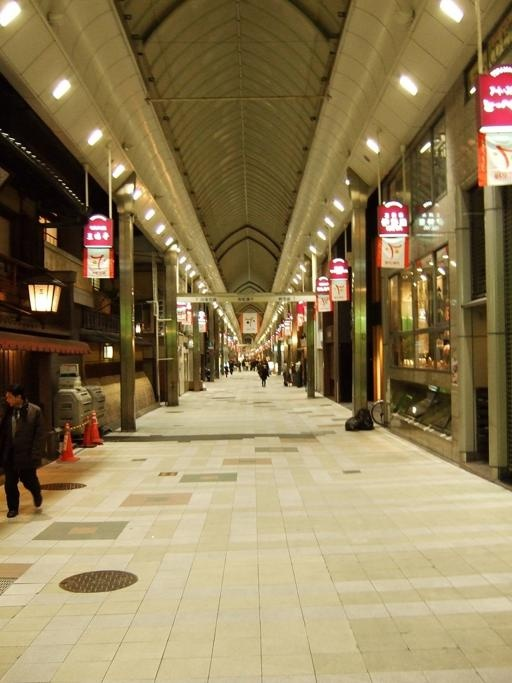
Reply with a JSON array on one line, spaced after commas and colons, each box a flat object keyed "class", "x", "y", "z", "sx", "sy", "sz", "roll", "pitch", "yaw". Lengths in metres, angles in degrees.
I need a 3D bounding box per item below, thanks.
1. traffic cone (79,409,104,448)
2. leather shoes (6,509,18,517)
[{"class": "traffic cone", "x": -4.179, "y": 2.259, "z": 12.704, "sx": 0.623, "sy": 0.953, "sz": 0.676, "roll": -1, "pitch": -9, "yaw": 3}, {"class": "leather shoes", "x": -3.046, "y": 2.154, "z": 6.227, "sx": 0.116, "sy": 0.084, "sz": 0.151, "roll": 2, "pitch": -6, "yaw": -29}]
